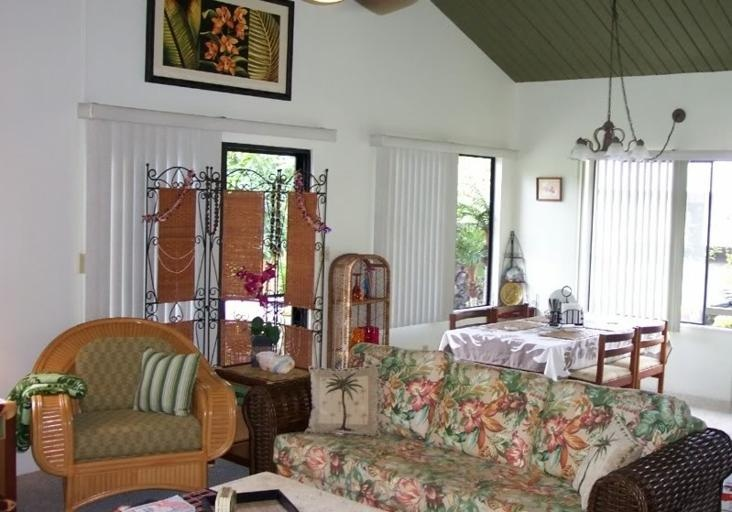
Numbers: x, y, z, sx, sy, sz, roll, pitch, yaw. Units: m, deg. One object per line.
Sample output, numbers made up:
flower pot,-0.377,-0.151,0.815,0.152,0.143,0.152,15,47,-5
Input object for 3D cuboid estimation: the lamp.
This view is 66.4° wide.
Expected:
lamp,2.740,-1.796,5.803,1.080,1.713,2.033,4,5,28

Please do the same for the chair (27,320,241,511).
chair,-1.666,1.099,4.360,1.735,1.544,1.206,1,-3,-24

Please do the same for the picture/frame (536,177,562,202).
picture/frame,2.370,-0.866,7.207,0.315,0.296,0.036,4,3,42

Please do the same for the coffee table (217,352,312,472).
coffee table,-0.630,1.229,4.362,0.808,0.732,0.748,-3,5,-43

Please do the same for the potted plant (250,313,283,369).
potted plant,-0.950,0.780,5.068,0.397,0.447,0.318,1,-4,28

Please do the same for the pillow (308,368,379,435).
pillow,-0.166,1.043,3.950,0.436,0.424,0.073,1,-23,-4

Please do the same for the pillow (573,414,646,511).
pillow,1.284,1.132,3.070,0.461,0.410,0.231,-1,5,-31

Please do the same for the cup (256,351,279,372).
cup,-0.859,0.910,4.844,0.156,0.116,0.157,0,-6,0

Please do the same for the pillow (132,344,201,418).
pillow,-1.464,0.914,4.116,0.423,0.433,0.133,6,-16,26
